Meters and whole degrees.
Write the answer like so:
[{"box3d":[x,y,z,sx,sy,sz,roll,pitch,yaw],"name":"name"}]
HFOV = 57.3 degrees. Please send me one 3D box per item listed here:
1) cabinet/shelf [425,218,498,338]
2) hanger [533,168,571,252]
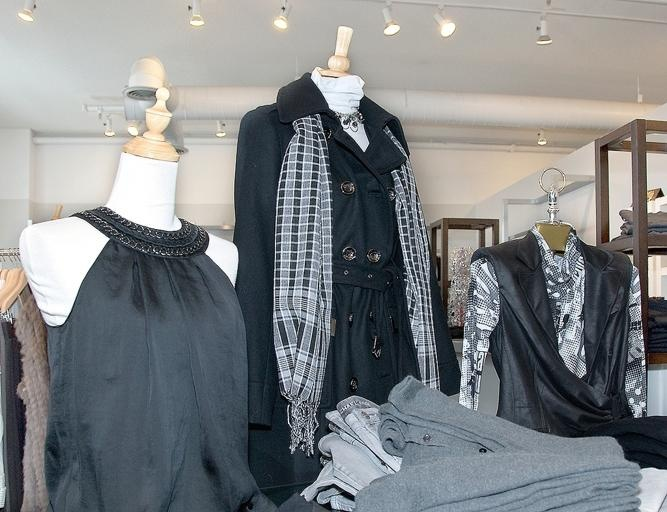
[{"box3d":[1.432,0.222,6.753,0.711,1.298,1.528,0,-1,9],"name":"cabinet/shelf"},{"box3d":[0.794,-0.159,2.204,0.121,0.329,0.034,5,36,26],"name":"hanger"}]
